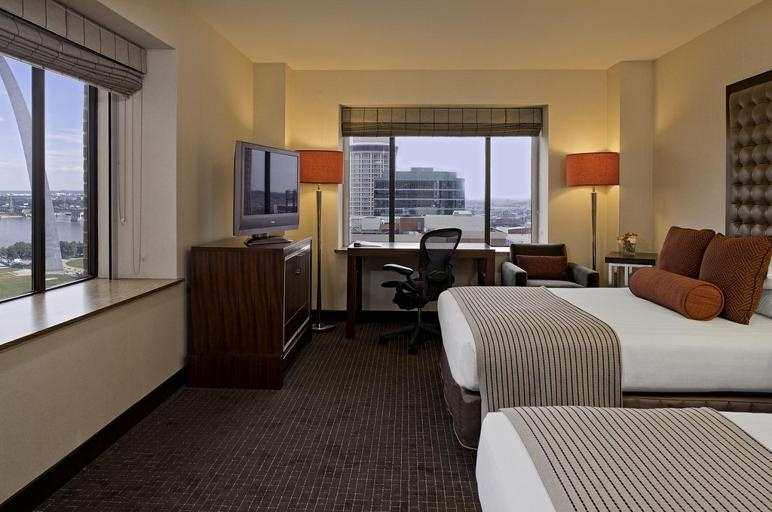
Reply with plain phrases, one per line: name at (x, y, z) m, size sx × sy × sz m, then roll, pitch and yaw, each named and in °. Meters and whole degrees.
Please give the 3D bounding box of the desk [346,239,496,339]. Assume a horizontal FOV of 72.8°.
desk at (0.526, 0.337, 6.320) m, size 1.705 × 1.123 × 1.023 m, roll 0°, pitch 14°, yaw 11°

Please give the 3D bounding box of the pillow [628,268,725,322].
pillow at (2.138, 0.250, 3.764) m, size 0.276 × 0.265 × 0.631 m, roll -15°, pitch 2°, yaw 7°

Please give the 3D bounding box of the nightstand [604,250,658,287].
nightstand at (2.651, 0.103, 5.676) m, size 0.452 × 0.472 × 0.465 m, roll 0°, pitch 0°, yaw 15°

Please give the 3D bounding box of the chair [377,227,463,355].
chair at (0.352, 0.304, 5.565) m, size 0.818 × 1.239 × 0.841 m, roll -1°, pitch 6°, yaw -21°

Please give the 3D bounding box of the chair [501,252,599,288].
chair at (1.806, 0.305, 5.748) m, size 0.857 × 0.689 × 0.653 m, roll -1°, pitch 2°, yaw 5°

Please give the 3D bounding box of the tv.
tv at (-1.130, -0.568, 4.915) m, size 0.286 × 1.002 × 1.134 m, roll 0°, pitch 0°, yaw 15°

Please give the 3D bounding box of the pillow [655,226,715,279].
pillow at (2.422, -0.025, 4.193) m, size 0.215 × 0.375 × 0.454 m, roll -3°, pitch 4°, yaw -9°

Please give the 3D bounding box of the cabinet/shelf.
cabinet/shelf at (-1.264, 0.472, 4.830) m, size 0.851 × 1.189 × 0.953 m, roll 1°, pitch 8°, yaw 7°

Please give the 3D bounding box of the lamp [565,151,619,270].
lamp at (2.359, -0.514, 6.009) m, size 0.595 × 1.347 × 0.450 m, roll 1°, pitch 8°, yaw 0°

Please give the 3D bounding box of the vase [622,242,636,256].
vase at (2.686, -0.071, 5.765) m, size 0.131 × 0.133 × 0.133 m, roll 1°, pitch 7°, yaw 7°
